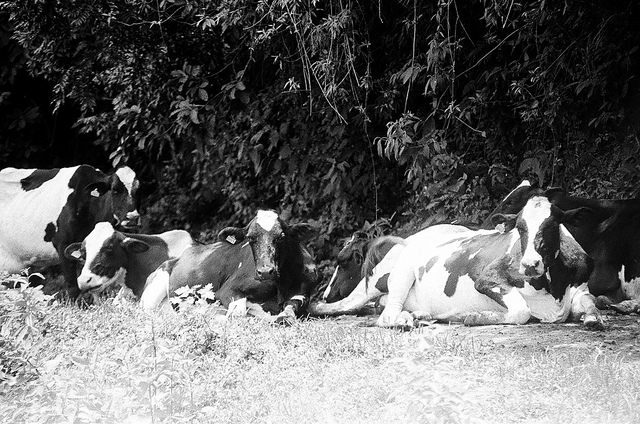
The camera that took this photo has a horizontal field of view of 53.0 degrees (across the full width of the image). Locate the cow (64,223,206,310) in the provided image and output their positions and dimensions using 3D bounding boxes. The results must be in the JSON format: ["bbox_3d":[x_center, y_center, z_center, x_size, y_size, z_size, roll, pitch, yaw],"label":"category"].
[{"bbox_3d":[-2.529,0.822,8.847,1.692,0.970,0.961,9,-13,-34],"label":"cow"}]

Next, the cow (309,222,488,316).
[{"bbox_3d":[1.145,0.770,8.252,2.584,1.318,0.900,-2,-6,30],"label":"cow"}]

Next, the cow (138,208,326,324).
[{"bbox_3d":[-1.227,0.854,8.325,2.077,0.978,1.240,-10,-21,40],"label":"cow"}]

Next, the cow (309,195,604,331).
[{"bbox_3d":[1.930,0.519,7.202,2.279,1.541,1.202,5,23,24],"label":"cow"}]
